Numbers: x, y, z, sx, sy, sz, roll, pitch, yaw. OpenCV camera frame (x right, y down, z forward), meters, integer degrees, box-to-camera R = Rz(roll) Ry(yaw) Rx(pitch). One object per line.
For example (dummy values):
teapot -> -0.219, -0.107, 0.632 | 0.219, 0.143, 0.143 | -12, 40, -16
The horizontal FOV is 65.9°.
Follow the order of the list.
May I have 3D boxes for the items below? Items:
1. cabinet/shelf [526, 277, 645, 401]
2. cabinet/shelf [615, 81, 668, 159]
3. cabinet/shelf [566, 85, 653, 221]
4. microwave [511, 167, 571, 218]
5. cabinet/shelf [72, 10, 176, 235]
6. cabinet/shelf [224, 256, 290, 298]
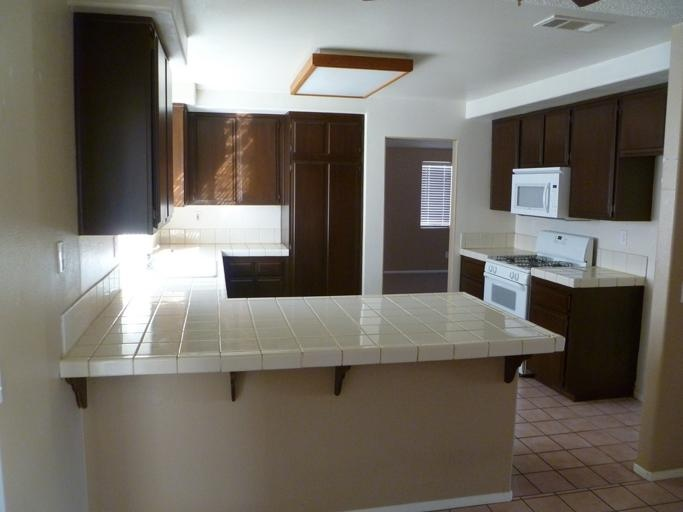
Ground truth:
cabinet/shelf -> 2.199, 0.663, 5.039 | 0.922, 1.437, 0.934 | 0, 5, -4
cabinet/shelf -> 2.351, -1.050, 4.111 | 0.109, 0.524, 0.459 | 0, 11, -10
cabinet/shelf -> 2.262, -0.870, 4.396 | 0.340, 1.092, 1.055 | 0, 4, -5
microwave -> 1.965, -0.615, 5.174 | 0.260, 0.470, 0.588 | -4, 11, -25
cabinet/shelf -> -1.149, -0.704, 2.732 | 0.336, 1.050, 1.080 | -2, 5, -14
cabinet/shelf -> -0.905, 0.225, 5.719 | 0.736, 0.545, 0.411 | -1, 2, -14
